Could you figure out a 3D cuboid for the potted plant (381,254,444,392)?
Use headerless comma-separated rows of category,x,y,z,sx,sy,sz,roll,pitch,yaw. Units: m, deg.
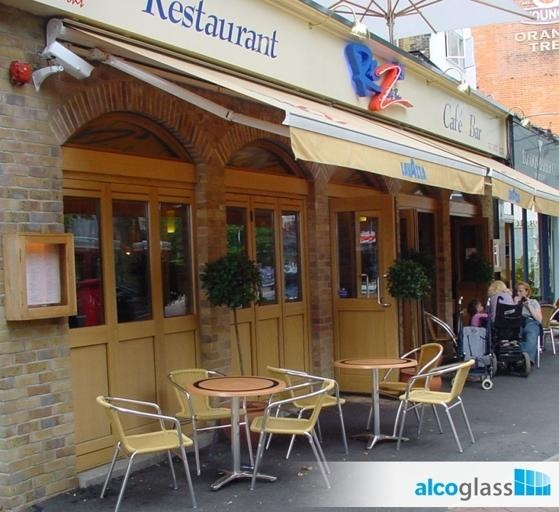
potted plant,2.079,0.925,8.691,0.998,2.204,1.035,-3,8,-36

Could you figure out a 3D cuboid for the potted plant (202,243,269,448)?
potted plant,-0.560,0.291,6.105,0.675,1.448,0.555,4,6,3

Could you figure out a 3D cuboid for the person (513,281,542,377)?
person,4.819,1.337,10.526,0.677,1.548,1.025,-4,-1,29

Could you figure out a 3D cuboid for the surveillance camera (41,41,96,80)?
surveillance camera,-1.708,-1.579,4.322,0.231,0.250,0.328,-6,-3,42
